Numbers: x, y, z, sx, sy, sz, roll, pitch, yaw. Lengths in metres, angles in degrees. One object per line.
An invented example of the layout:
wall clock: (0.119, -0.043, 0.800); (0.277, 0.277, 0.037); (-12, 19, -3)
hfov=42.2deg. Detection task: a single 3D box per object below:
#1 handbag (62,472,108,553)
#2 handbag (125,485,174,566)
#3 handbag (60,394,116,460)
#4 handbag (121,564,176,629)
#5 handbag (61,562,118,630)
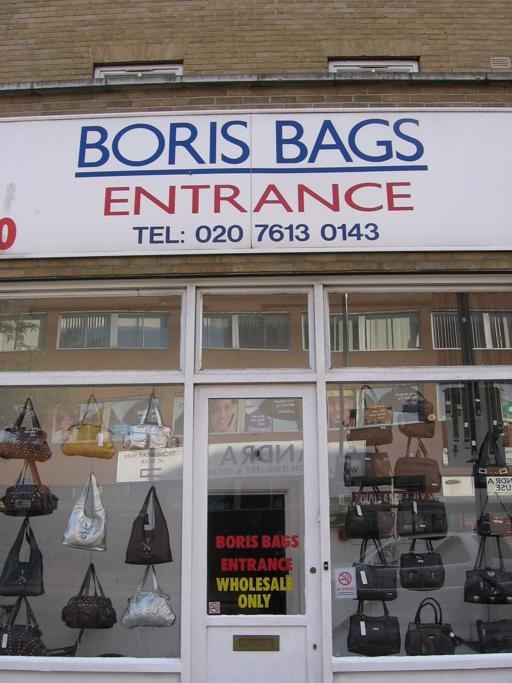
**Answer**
handbag: (-1.192, 1.192, 4.613); (0.297, 0.525, 0.084); (-4, -12, 12)
handbag: (-0.739, 1.252, 4.507); (0.342, 0.521, 0.075); (-7, -12, 25)
handbag: (-1.195, 0.610, 4.751); (0.461, 0.568, 0.172); (1, -14, 4)
handbag: (-0.708, 1.704, 4.397); (0.391, 0.459, 0.147); (-5, -38, 3)
handbag: (-1.126, 1.738, 4.481); (0.417, 0.468, 0.164); (-1, -43, -4)
